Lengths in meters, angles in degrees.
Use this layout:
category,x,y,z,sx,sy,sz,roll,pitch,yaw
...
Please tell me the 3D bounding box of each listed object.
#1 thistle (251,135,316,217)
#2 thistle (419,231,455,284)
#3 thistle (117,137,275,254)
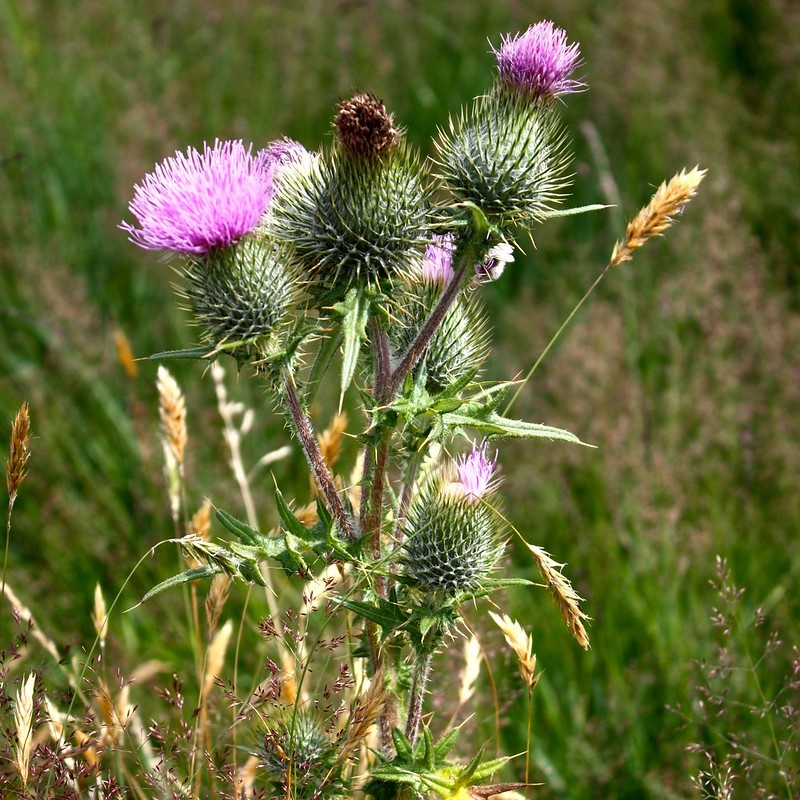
category,x,y,z,sx,sy,sz,roll,pitch,yaw
thistle,-0.372,-0.747,3.612,0.181,0.275,0.214,-4,-6,-10
thistle,0.117,-0.464,3.738,0.102,0.146,0.120,-2,4,-12
thistle,-0.611,-0.623,3.437,0.380,0.233,0.361,-45,13,-34
